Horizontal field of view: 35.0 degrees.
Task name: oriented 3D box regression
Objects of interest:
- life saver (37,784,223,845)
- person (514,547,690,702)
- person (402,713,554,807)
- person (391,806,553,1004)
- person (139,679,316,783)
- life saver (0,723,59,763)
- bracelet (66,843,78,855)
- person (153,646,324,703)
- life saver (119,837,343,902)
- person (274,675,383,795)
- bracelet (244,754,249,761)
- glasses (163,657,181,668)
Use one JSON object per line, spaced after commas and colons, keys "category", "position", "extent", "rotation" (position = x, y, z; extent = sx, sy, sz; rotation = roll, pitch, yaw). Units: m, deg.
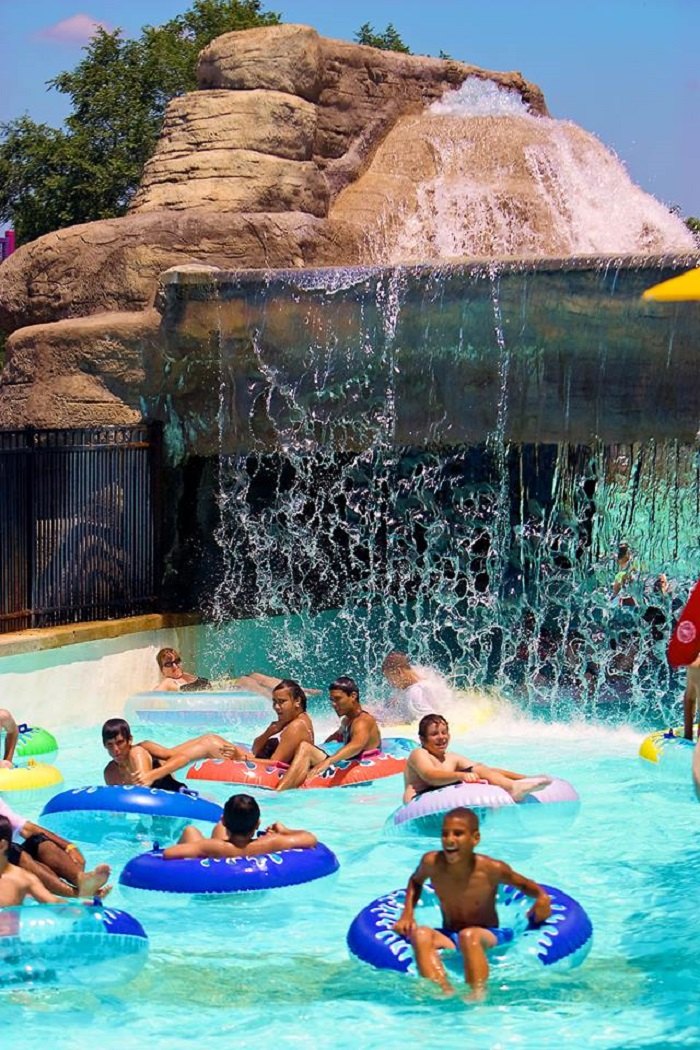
{"category": "life saver", "position": [-1.238, 1.550, 5.981], "extent": [0.531, 0.136, 0.536], "rotation": [-3, -11, 40]}
{"category": "person", "position": [2.239, 0.906, 9.912], "extent": [1.545, 1.519, 0.577], "rotation": [4, 3, 12]}
{"category": "person", "position": [0.703, 1.331, 6.297], "extent": [0.809, 0.540, 0.444], "rotation": [0, 6, 26]}
{"category": "person", "position": [0.466, 1.476, 4.214], "extent": [0.587, 0.749, 0.420], "rotation": [-7, -18, 18]}
{"category": "person", "position": [-0.795, 1.357, 7.298], "extent": [1.147, 0.656, 0.443], "rotation": [8, 0, -17]}
{"category": "life saver", "position": [-2.291, 1.555, 7.857], "extent": [0.373, 0.164, 0.492], "rotation": [0, 2, -8]}
{"category": "bracelet", "position": [-1.285, 1.484, 5.097], "extent": [0.029, 0.038, 0.037], "rotation": [-15, 28, -40]}
{"category": "person", "position": [-1.100, 1.355, 9.698], "extent": [1.130, 0.441, 0.686], "rotation": [-3, 1, 6]}
{"category": "life saver", "position": [-0.566, 1.676, 5.345], "extent": [1.067, 0.204, 0.408], "rotation": [2, 3, -10]}
{"category": "person", "position": [-0.222, 1.402, 7.363], "extent": [0.928, 0.688, 0.586], "rotation": [-4, 2, -28]}
{"category": "bracelet", "position": [-0.688, 1.534, 7.312], "extent": [0.016, 0.064, 0.016], "rotation": [3, 1, -17]}
{"category": "glasses", "position": [-1.524, 1.187, 9.598], "extent": [0.047, 0.101, 0.180], "rotation": [4, 3, 26]}
